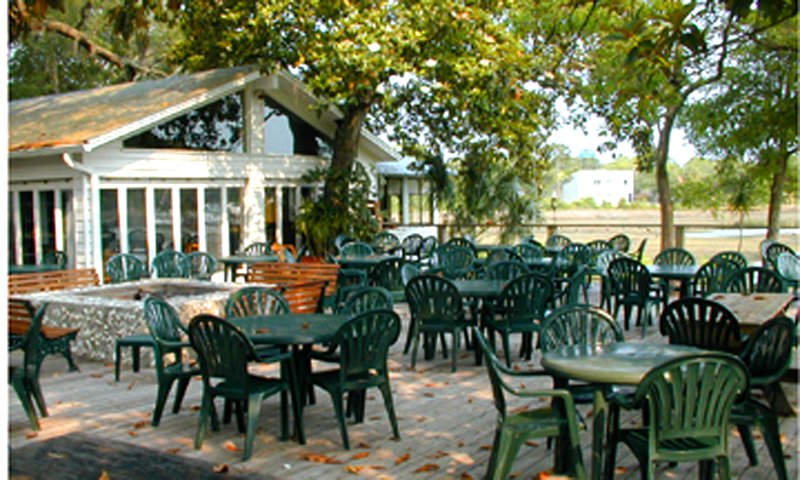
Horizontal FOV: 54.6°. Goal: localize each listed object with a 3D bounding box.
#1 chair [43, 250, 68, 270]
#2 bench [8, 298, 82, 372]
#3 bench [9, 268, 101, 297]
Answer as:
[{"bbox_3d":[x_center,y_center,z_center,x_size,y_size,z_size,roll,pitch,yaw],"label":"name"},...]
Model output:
[{"bbox_3d":[-7.259,0.415,16.505,0.392,0.471,0.668,1,-8,5],"label":"chair"},{"bbox_3d":[-4.828,1.047,10.452,0.709,0.954,1.715,-1,3,-43],"label":"bench"},{"bbox_3d":[-6.203,0.743,13.877,0.606,0.402,1.680,0,-1,31],"label":"bench"}]
